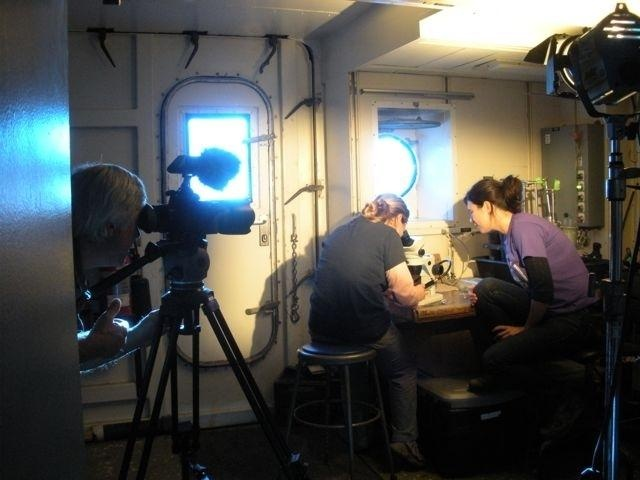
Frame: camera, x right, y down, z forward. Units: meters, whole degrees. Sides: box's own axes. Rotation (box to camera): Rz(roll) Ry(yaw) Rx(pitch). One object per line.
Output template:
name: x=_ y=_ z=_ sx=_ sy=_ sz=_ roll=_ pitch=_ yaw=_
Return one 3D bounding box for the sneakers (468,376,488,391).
sneakers: x=0.920 y=0.831 z=3.433 sx=0.087 sy=0.041 sz=0.121 roll=-4 pitch=2 yaw=17

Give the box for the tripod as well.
tripod: x=-0.421 y=0.622 z=2.572 sx=0.734 sy=0.954 sz=0.649 roll=-1 pitch=7 yaw=-1

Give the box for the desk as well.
desk: x=0.810 y=0.589 z=3.923 sx=0.643 sy=0.637 sz=0.622 roll=-5 pitch=-1 yaw=-29

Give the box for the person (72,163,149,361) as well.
person: x=-0.805 y=0.098 z=2.284 sx=0.274 sy=0.773 sz=0.718 roll=-4 pitch=8 yaw=-23

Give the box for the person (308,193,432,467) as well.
person: x=0.268 y=0.585 z=3.493 sx=0.678 sy=1.429 sz=0.264 roll=0 pitch=7 yaw=9
